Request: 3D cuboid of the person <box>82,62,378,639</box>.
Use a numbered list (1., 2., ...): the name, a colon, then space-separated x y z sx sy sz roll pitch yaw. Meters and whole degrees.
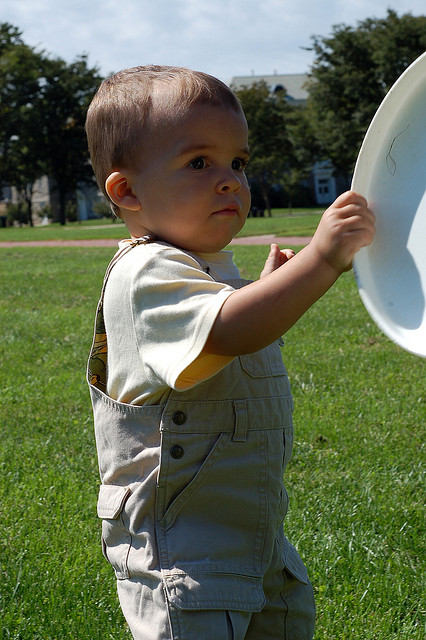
1. person: 0.005 0.114 1.260 0.464 1.223 0.570 -7 14 -22
